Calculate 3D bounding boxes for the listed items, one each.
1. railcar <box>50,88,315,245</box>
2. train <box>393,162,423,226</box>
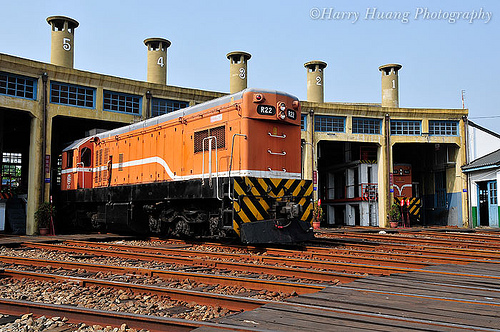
[{"bbox_3d":[-3.567,0.370,21.219,4.112,4.811,13.795,3,-6,-42],"label":"railcar"},{"bbox_3d":[9.665,1.421,33.013,2.090,5.201,1.707,3,-1,13],"label":"train"}]
